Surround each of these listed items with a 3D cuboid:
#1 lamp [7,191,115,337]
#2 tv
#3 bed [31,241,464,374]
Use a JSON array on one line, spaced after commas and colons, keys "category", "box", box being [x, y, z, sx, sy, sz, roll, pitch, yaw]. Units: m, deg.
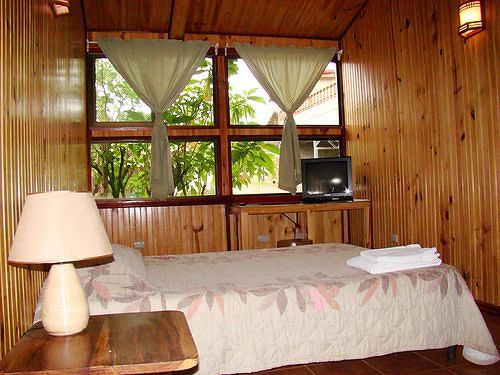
[{"category": "lamp", "box": [-0.929, 0.303, 2.202, 0.583, 0.816, 0.594, -5, 7, -35]}, {"category": "tv", "box": [0.899, -0.057, 5.260, 0.863, 0.745, 0.476, -1, -8, 5]}, {"category": "bed", "box": [0.279, 0.708, 2.613, 1.664, 0.462, 1.127, -4, 7, -15]}]
